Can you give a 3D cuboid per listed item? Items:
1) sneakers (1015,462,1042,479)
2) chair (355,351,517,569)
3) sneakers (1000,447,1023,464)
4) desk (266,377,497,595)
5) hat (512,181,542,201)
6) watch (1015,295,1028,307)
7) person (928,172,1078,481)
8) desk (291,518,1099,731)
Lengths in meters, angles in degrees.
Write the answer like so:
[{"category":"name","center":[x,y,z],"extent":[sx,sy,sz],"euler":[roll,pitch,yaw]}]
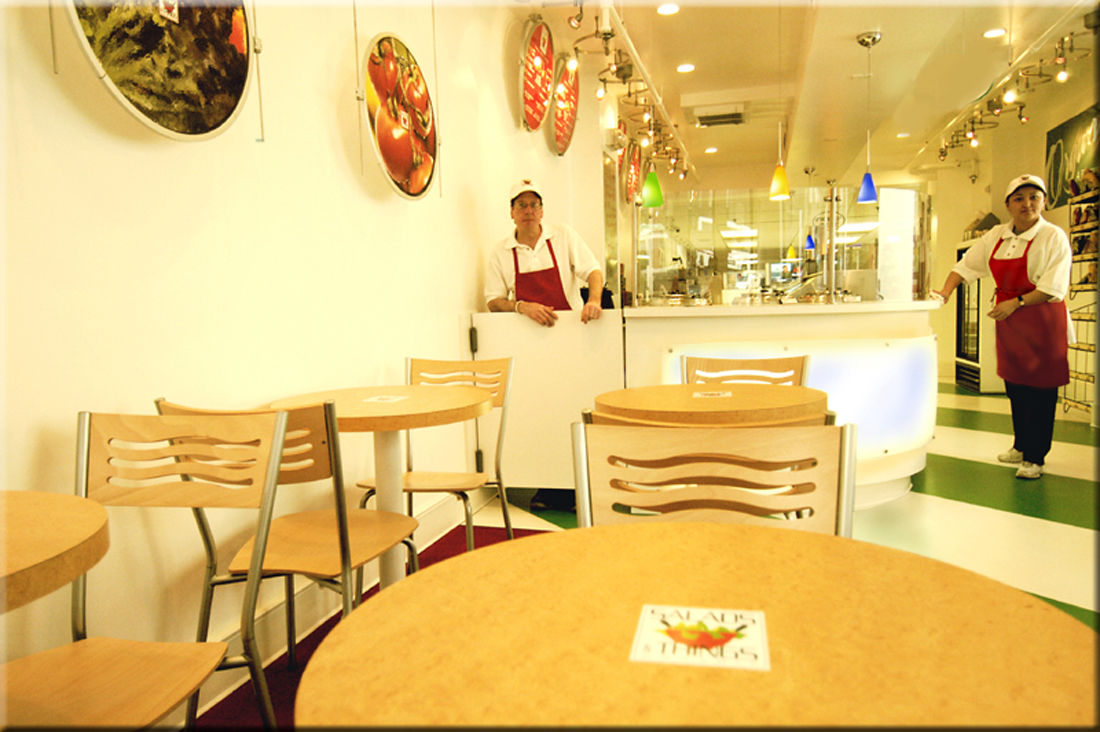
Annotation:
[{"category":"sneakers","center":[3.212,0.694,5.312],"extent":[0.079,0.084,0.203],"euler":[-9,-20,43]},{"category":"chair","center":[-0.561,0.486,3.949],"extent":[0.770,1.061,0.801],"euler":[1,2,37]},{"category":"sneakers","center":[3.355,0.662,5.807],"extent":[0.198,0.134,0.079],"euler":[1,-2,19]},{"category":"desk","center":[-0.600,0.453,3.517],"extent":[0.873,0.968,0.902],"euler":[8,14,39]},{"category":"hat","center":[-0.134,-1.145,5.138],"extent":[0.222,0.125,0.119],"euler":[-5,4,-37]},{"category":"watch","center":[3.220,-0.455,5.382],"extent":[0.055,0.079,0.069],"euler":[-5,4,-29]},{"category":"person","center":[3.258,-0.292,5.558],"extent":[0.483,2.035,0.733],"euler":[-4,4,-13]},{"category":"desk","center":[0.354,0.639,1.838],"extent":[1.747,0.283,0.633],"euler":[-2,3,12]}]
